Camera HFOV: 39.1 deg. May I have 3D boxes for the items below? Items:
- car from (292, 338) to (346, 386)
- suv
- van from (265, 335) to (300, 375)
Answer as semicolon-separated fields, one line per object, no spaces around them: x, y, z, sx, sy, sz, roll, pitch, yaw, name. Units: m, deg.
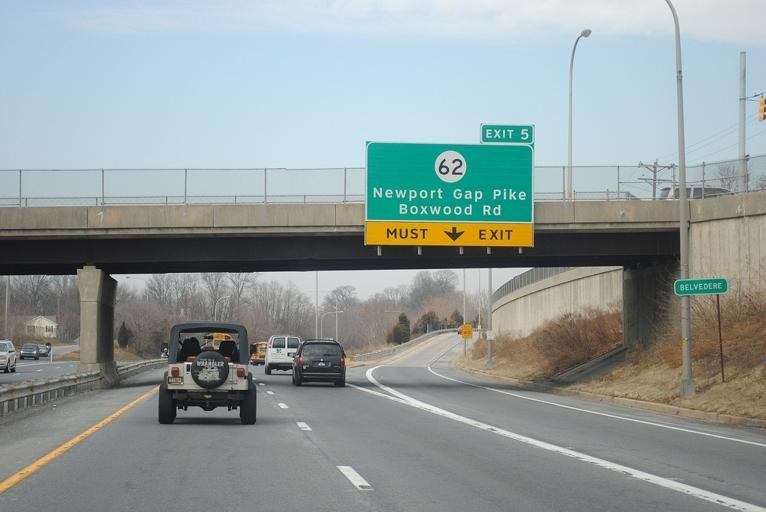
-3.223;5.128;52.240;2.484;2.377;4.704;2;-1;-12;car
-5.984;3.932;36.795;3.119;3.454;5.594;1;-4;-7;suv
-5.944;5.651;62.582;1.599;1.574;2.918;0;1;-5;van
